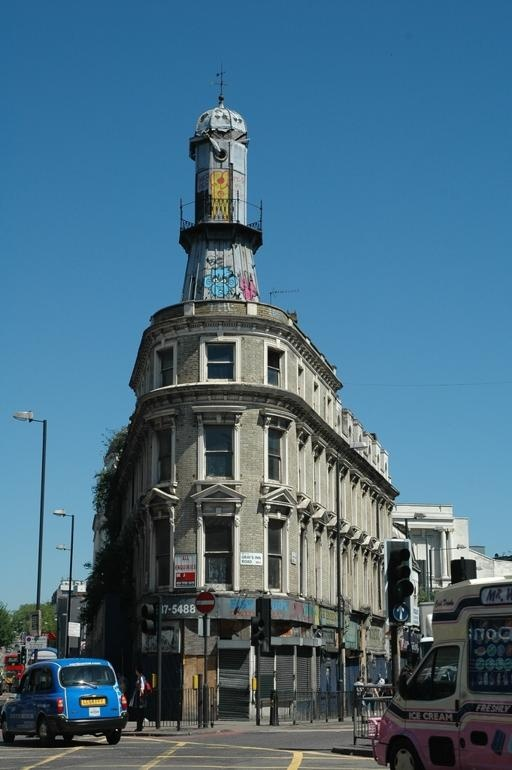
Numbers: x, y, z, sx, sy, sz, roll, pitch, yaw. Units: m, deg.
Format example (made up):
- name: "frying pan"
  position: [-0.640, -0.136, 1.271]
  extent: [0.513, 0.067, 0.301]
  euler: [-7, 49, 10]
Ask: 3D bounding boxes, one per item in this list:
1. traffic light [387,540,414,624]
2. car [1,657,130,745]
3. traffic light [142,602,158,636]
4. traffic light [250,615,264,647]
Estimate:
- name: "traffic light"
  position: [2.187, 2.975, 20.376]
  extent: [0.551, 1.203, 0.513]
  euler: [20, -29, -34]
- name: "car"
  position: [-4.160, 6.199, 26.374]
  extent: [3.330, 1.619, 1.616]
  euler: [-11, -17, 32]
- name: "traffic light"
  position: [-2.297, 5.036, 29.243]
  extent: [0.346, 0.706, 1.008]
  euler: [0, -15, -5]
- name: "traffic light"
  position: [0.009, 6.028, 33.023]
  extent: [0.221, 0.707, 0.446]
  euler: [7, -16, -29]
